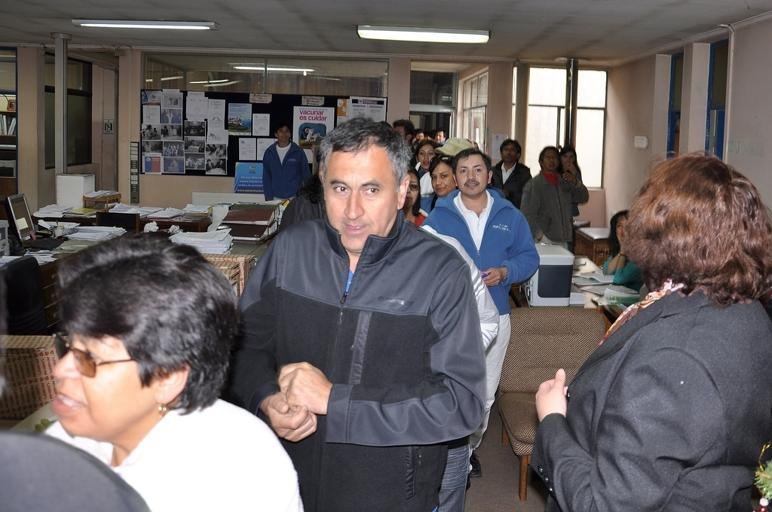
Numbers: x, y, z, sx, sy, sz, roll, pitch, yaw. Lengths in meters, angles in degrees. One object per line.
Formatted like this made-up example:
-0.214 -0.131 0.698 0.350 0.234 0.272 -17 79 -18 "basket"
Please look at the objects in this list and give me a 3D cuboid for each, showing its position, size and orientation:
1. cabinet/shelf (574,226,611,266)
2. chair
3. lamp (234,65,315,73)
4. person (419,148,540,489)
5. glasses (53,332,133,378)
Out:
3.214 -0.156 8.279 0.310 0.461 0.569 -2 13 -3 "cabinet/shelf"
1.128 0.967 3.667 0.816 1.023 0.828 -6 2 15 "chair"
-2.261 -3.744 10.686 1.592 0.150 0.049 1 9 1 "lamp"
0.649 0.445 3.898 0.965 2.374 0.823 -1 12 7 "person"
-0.595 0.198 1.074 0.110 0.036 0.114 15 3 38 "glasses"
